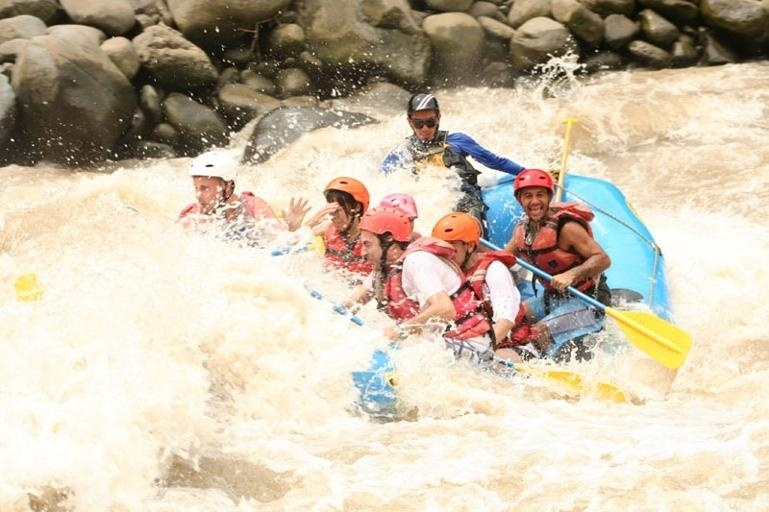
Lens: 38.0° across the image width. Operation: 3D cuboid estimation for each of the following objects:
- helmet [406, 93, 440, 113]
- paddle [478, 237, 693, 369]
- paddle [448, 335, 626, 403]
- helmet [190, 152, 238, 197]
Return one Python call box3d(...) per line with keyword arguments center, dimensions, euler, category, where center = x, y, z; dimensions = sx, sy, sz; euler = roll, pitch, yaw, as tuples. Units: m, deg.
box3d(center=(0.467, -1.857, 13.590), dimensions=(0.369, 0.335, 0.301), euler=(-8, 75, 2), category="helmet")
box3d(center=(2.101, 0.548, 12.076), dimensions=(3.058, 0.116, 0.403), euler=(27, 95, 18), category="paddle")
box3d(center=(1.531, 1.192, 11.610), dimensions=(2.201, 0.102, 0.273), euler=(16, 94, 1), category="paddle")
box3d(center=(-1.995, -0.974, 12.860), dimensions=(0.588, 0.426, 0.415), euler=(-15, 26, -22), category="helmet")
